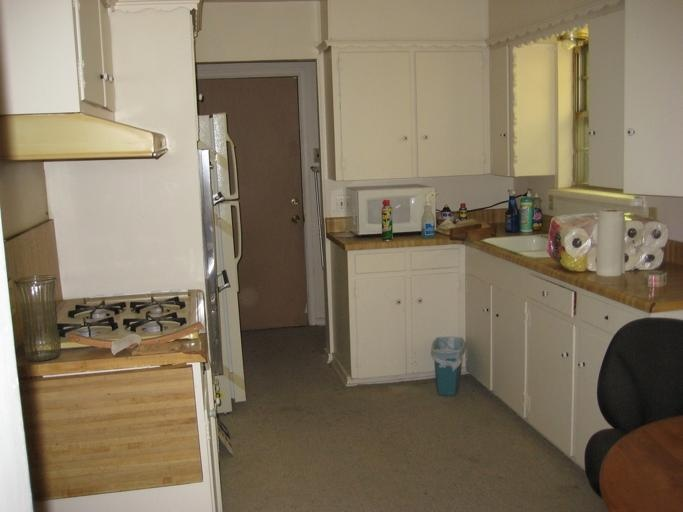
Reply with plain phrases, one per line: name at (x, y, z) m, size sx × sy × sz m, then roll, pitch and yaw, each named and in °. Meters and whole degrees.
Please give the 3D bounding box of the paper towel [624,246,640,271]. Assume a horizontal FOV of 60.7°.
paper towel at (1.559, 0.012, 3.154) m, size 0.096 × 0.116 × 0.032 m, roll 7°, pitch 6°, yaw -8°

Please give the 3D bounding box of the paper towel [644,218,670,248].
paper towel at (1.680, -0.116, 3.133) m, size 0.121 × 0.136 × 0.034 m, roll 1°, pitch 5°, yaw 11°

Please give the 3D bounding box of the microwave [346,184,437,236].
microwave at (0.383, -0.362, 4.408) m, size 0.507 × 0.355 × 0.383 m, roll -4°, pitch 12°, yaw -13°

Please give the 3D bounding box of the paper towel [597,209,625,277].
paper towel at (1.417, -0.068, 3.072) m, size 0.132 × 0.343 × 0.082 m, roll 2°, pitch 12°, yaw 22°

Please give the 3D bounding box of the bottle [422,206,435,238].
bottle at (0.655, -0.268, 4.399) m, size 0.096 × 0.218 × 0.241 m, roll -1°, pitch 12°, yaw 10°

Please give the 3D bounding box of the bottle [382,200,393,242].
bottle at (0.341, -0.275, 4.329) m, size 0.082 × 0.273 × 0.200 m, roll -1°, pitch 12°, yaw 5°

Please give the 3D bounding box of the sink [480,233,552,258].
sink at (1.287, -0.087, 4.103) m, size 0.228 × 0.165 × 0.250 m, roll -2°, pitch 12°, yaw -11°

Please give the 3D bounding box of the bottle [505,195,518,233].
bottle at (1.306, -0.326, 4.446) m, size 0.099 × 0.277 × 0.159 m, roll 2°, pitch 12°, yaw 20°

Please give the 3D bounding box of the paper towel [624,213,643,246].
paper towel at (1.561, -0.125, 3.126) m, size 0.102 × 0.144 × 0.022 m, roll -3°, pitch 11°, yaw -3°

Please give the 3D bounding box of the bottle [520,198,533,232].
bottle at (1.385, -0.308, 4.372) m, size 0.101 × 0.261 × 0.092 m, roll -2°, pitch 11°, yaw 0°

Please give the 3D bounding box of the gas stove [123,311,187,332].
gas stove at (-0.822, 0.288, 2.574) m, size 0.279 × 0.029 × 0.222 m, roll -6°, pitch 13°, yaw -14°

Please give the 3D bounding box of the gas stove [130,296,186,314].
gas stove at (-0.889, 0.224, 2.835) m, size 0.258 × 0.041 × 0.234 m, roll -8°, pitch 14°, yaw -20°

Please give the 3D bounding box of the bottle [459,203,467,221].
bottle at (0.967, -0.358, 4.644) m, size 0.051 × 0.117 × 0.161 m, roll 1°, pitch 13°, yaw 17°

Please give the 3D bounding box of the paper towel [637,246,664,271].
paper towel at (1.669, 0.014, 3.162) m, size 0.099 × 0.135 × 0.137 m, roll 1°, pitch 11°, yaw 17°

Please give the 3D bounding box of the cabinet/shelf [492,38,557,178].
cabinet/shelf at (1.321, -1.078, 4.307) m, size 0.590 × 0.948 × 0.290 m, roll 6°, pitch 14°, yaw 36°

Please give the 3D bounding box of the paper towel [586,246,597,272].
paper towel at (1.351, 0.016, 3.156) m, size 0.052 × 0.141 × 0.032 m, roll 5°, pitch 13°, yaw 34°

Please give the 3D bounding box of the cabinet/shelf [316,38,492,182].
cabinet/shelf at (0.504, -1.154, 4.484) m, size 0.917 × 0.865 × 0.386 m, roll -2°, pitch 13°, yaw -6°

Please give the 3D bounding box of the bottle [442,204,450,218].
bottle at (0.833, -0.352, 4.723) m, size 0.073 × 0.090 × 0.079 m, roll -1°, pitch 4°, yaw 3°

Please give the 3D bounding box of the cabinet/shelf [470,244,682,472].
cabinet/shelf at (1.199, 0.518, 2.973) m, size 0.354 × 0.743 × 1.078 m, roll 0°, pitch 12°, yaw -7°
